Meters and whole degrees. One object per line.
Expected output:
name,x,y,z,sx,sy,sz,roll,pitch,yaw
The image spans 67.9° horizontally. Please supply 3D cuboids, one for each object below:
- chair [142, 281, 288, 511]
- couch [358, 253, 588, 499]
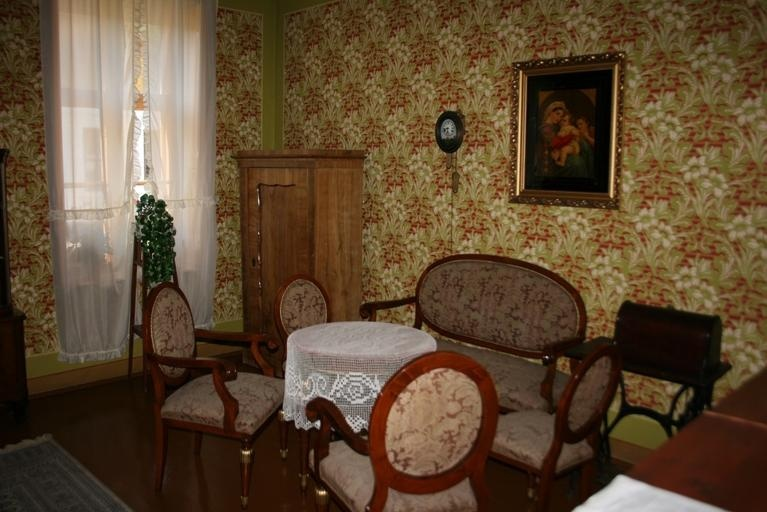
chair,-1.199,0.938,4.064,0.892,1.458,0.568,3,11,12
couch,0.737,0.881,4.823,1.137,1.483,2.214,-26,14,-26
